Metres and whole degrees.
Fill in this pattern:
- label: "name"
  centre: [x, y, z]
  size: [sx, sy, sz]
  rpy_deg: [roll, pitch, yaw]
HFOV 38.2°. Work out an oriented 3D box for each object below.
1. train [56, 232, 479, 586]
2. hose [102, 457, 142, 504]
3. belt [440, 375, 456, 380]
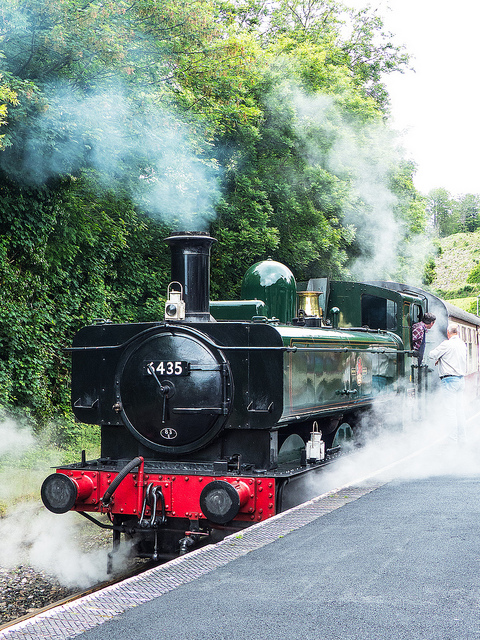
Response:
- label: "train"
  centre: [0.911, 0.540, 8.199]
  size: [2.413, 2.792, 7.409]
  rpy_deg: [-1, 0, 24]
- label: "hose"
  centre: [-0.867, 1.202, 5.124]
  size: [0.074, 0.372, 0.157]
  rpy_deg: [28, -19, 30]
- label: "belt"
  centre: [2.573, 0.711, 8.633]
  size: [0.071, 0.057, 0.208]
  rpy_deg: [2, -2, -19]
